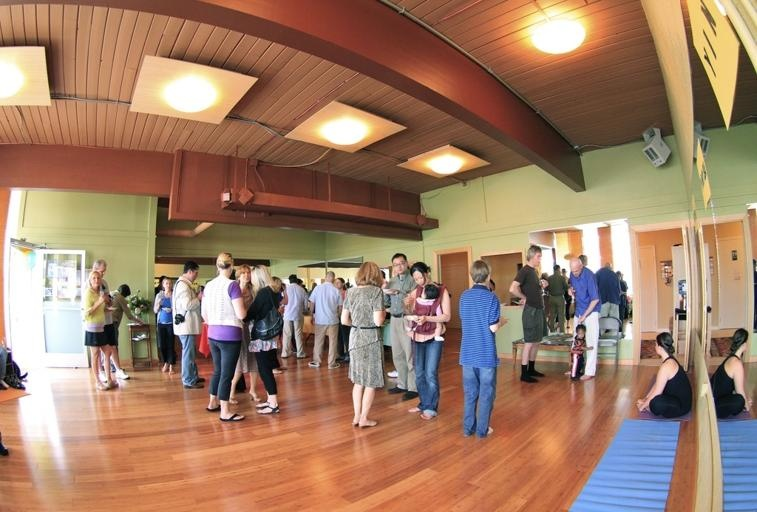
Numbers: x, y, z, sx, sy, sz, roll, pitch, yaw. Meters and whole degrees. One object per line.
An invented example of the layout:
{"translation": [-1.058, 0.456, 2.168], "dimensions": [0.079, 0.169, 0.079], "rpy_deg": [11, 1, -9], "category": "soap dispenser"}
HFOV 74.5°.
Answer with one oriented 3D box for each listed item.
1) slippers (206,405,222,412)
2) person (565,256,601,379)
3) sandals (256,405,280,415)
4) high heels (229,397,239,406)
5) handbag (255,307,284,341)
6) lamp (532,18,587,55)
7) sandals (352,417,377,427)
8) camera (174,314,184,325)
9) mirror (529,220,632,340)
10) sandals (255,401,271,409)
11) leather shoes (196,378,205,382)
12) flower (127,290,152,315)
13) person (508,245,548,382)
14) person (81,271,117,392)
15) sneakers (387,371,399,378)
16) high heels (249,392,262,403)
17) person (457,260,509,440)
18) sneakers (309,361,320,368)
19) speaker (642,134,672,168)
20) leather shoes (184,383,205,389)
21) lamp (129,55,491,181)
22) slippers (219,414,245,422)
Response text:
{"translation": [-2.026, 1.878, 6.131], "dimensions": [0.223, 0.057, 0.079], "rpy_deg": [1, -3, -35], "category": "slippers"}
{"translation": [2.981, 0.847, 7.148], "dimensions": [0.383, 1.704, 0.458], "rpy_deg": [-3, 6, -1], "category": "person"}
{"translation": [-1.335, 1.856, 6.018], "dimensions": [0.209, 0.054, 0.111], "rpy_deg": [5, -12, 1], "category": "sandals"}
{"translation": [-1.876, 1.900, 6.483], "dimensions": [0.207, 0.080, 0.070], "rpy_deg": [-12, -15, 38], "category": "high heels"}
{"translation": [-1.292, 0.771, 5.852], "dimensions": [0.179, 0.355, 0.379], "rpy_deg": [26, 43, 33], "category": "handbag"}
{"translation": [1.961, -2.398, 5.394], "dimensions": [0.593, 0.319, 0.442], "rpy_deg": [-1, 6, 7], "category": "lamp"}
{"translation": [-0.159, 1.832, 5.567], "dimensions": [0.285, 0.175, 0.100], "rpy_deg": [-3, -8, -3], "category": "sandals"}
{"translation": [-2.823, 0.889, 7.054], "dimensions": [0.122, 0.138, 0.164], "rpy_deg": [-2, -19, 34], "category": "camera"}
{"translation": [3.312, 0.370, 8.066], "dimensions": [1.968, 2.133, 0.101], "rpy_deg": [6, 14, 44], "category": "mirror"}
{"translation": [-1.432, 1.852, 6.193], "dimensions": [0.134, 0.046, 0.182], "rpy_deg": [-9, -14, 38], "category": "sandals"}
{"translation": [-2.691, 1.874, 7.550], "dimensions": [0.135, 0.087, 0.044], "rpy_deg": [-1, -1, -14], "category": "leather shoes"}
{"translation": [-4.452, 0.863, 9.491], "dimensions": [0.413, 0.369, 0.454], "rpy_deg": [7, 1, -2], "category": "flower"}
{"translation": [2.174, 0.822, 7.292], "dimensions": [0.449, 1.981, 0.758], "rpy_deg": [0, 7, 21], "category": "person"}
{"translation": [-4.085, 1.071, 7.260], "dimensions": [0.347, 1.761, 0.529], "rpy_deg": [-6, 7, -29], "category": "person"}
{"translation": [0.225, 1.809, 7.643], "dimensions": [0.167, 0.106, 0.269], "rpy_deg": [2, -9, 0], "category": "sneakers"}
{"translation": [-1.617, 1.842, 6.541], "dimensions": [0.087, 0.109, 0.253], "rpy_deg": [3, -8, -39], "category": "high heels"}
{"translation": [1.098, 0.962, 5.286], "dimensions": [0.453, 1.808, 0.459], "rpy_deg": [-1, 6, 13], "category": "person"}
{"translation": [-1.118, 1.878, 8.628], "dimensions": [0.074, 0.088, 0.216], "rpy_deg": [7, -17, -35], "category": "sneakers"}
{"translation": [4.253, -1.631, 7.579], "dimensions": [0.249, 0.248, 0.437], "rpy_deg": [-42, -35, 14], "category": "speaker"}
{"translation": [-2.713, 1.910, 7.335], "dimensions": [0.266, 0.106, 0.095], "rpy_deg": [-2, -4, -5], "category": "leather shoes"}
{"translation": [-0.559, -1.824, 7.131], "dimensions": [5.256, 1.174, 1.702], "rpy_deg": [-6, 7, -34], "category": "lamp"}
{"translation": [-1.700, 1.882, 5.798], "dimensions": [0.193, 0.042, 0.105], "rpy_deg": [0, -5, -7], "category": "slippers"}
